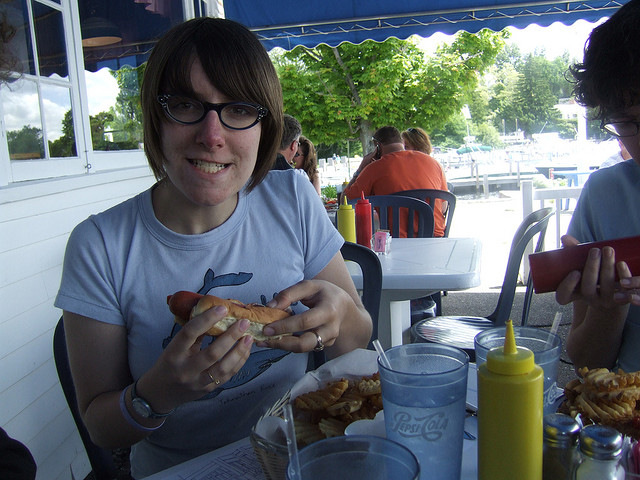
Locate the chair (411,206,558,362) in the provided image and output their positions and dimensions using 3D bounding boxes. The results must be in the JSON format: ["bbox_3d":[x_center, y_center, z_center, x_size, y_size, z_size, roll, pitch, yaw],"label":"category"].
[{"bbox_3d":[0.906,0.350,2.747,0.593,1.243,0.613,-1,8,13],"label":"chair"}]

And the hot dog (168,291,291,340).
[{"bbox_3d":[-0.231,0.230,1.241,0.277,0.093,0.136,19,-1,-31],"label":"hot dog"}]

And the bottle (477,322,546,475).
[{"bbox_3d":[0.348,0.304,0.887,0.120,0.295,0.059,5,13,21],"label":"bottle"}]

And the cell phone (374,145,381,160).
[{"bbox_3d":[0.702,-1.076,6.003,0.081,0.119,0.106,15,42,-4],"label":"cell phone"}]

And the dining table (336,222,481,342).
[{"bbox_3d":[0.546,0.128,2.786,0.731,0.853,0.795,2,7,8],"label":"dining table"}]

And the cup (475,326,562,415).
[{"bbox_3d":[0.437,0.320,1.122,0.149,0.194,0.167,-8,8,19],"label":"cup"}]

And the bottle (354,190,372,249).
[{"bbox_3d":[0.261,-0.113,2.964,0.107,0.282,0.239,2,12,4],"label":"bottle"}]

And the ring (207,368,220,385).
[{"bbox_3d":[-0.272,0.346,1.221,0.041,0.014,0.029,47,-8,16],"label":"ring"}]
